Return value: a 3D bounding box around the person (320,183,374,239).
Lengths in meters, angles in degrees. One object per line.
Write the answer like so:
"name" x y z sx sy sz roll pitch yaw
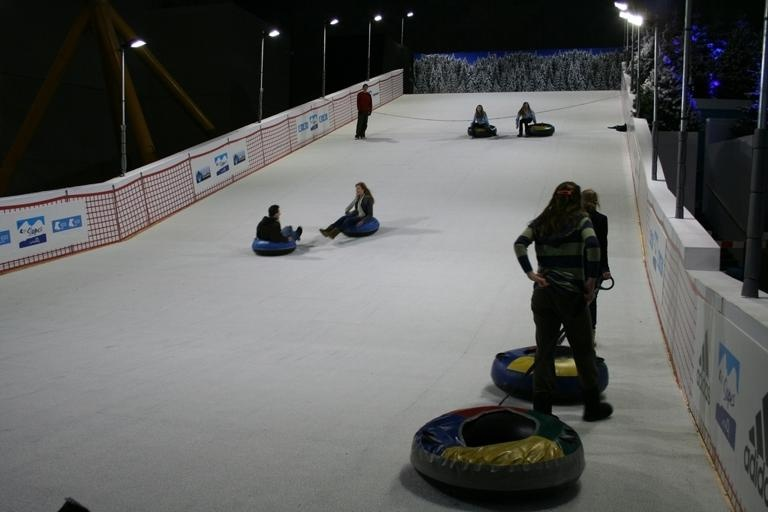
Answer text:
"person" -1.055 -1.330 15.085 1.823 1.062 0.934 -32 39 -30

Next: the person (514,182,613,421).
"person" 2.154 0.598 6.568 1.068 2.904 0.698 -6 14 -14

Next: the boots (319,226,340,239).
"boots" -1.499 -0.644 15.093 0.504 0.407 0.655 -3 13 -4

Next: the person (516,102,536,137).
"person" 6.719 -6.535 25.476 0.713 1.604 1.501 1 14 16
